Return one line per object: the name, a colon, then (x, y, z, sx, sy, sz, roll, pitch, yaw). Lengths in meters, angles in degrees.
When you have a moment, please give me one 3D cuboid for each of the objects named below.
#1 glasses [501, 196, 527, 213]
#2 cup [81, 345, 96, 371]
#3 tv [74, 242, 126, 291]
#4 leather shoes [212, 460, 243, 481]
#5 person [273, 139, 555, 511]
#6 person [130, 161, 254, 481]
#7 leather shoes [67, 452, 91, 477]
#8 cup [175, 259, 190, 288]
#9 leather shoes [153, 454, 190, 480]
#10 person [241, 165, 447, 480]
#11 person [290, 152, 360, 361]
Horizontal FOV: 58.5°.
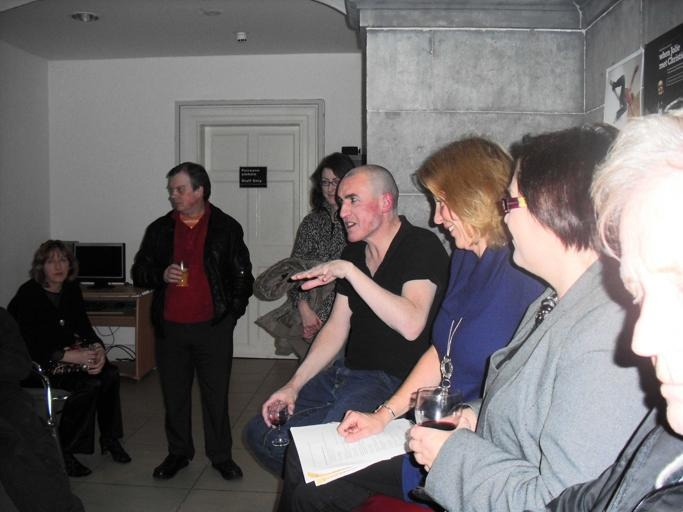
glasses: (0.517, -0.159, 1.863, 0.047, 0.018, 0.047, -15, 2, -21)
cup: (-1.463, 0.595, 3.592, 0.050, 0.122, 0.117, -3, -3, -7)
tv: (-2.088, 0.089, 5.285, 0.360, 0.340, 0.167, 0, -5, -2)
leather shoes: (-0.660, 1.236, 3.565, 0.174, 0.079, 0.082, 1, 1, 41)
person: (0.113, 0.138, 3.351, 1.453, 2.468, 0.841, 4, 0, 6)
person: (-0.865, 0.361, 3.599, 0.686, 1.795, 0.504, -1, 7, -10)
leather shoes: (-1.517, 1.200, 3.502, 0.190, 0.142, 0.073, 2, 0, -8)
cup: (-0.897, 0.117, 3.487, 0.110, 0.183, 0.114, 3, -3, 0)
leather shoes: (-0.979, 1.217, 3.541, 0.080, 0.095, 0.215, 3, -2, 26)
person: (0.036, 0.471, 2.709, 0.729, 1.691, 0.739, 6, 0, 3)
person: (-0.078, 0.024, 3.703, 0.386, 1.186, 0.323, -14, 32, -44)
